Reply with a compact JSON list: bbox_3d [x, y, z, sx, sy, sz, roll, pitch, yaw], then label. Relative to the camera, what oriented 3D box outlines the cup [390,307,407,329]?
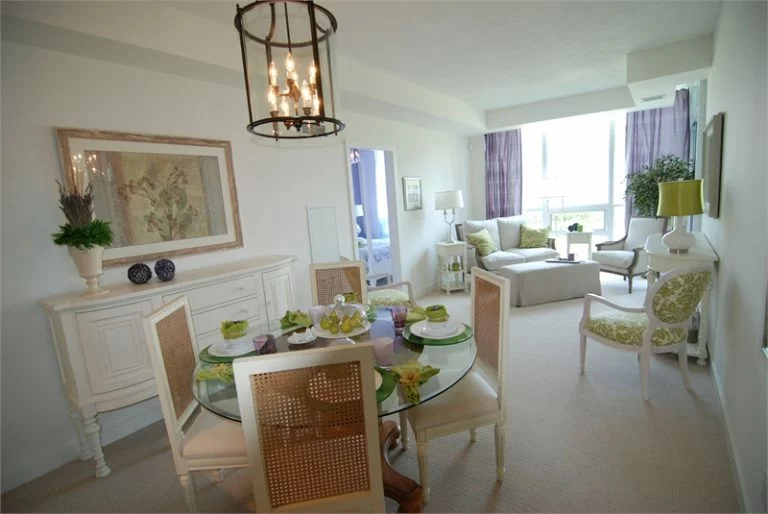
[{"bbox_3d":[0.115,0.452,3.857,0.148,0.163,0.143,-1,7,0],"label":"cup"}]

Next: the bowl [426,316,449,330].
[{"bbox_3d":[0.404,0.482,3.724,0.097,0.053,0.098,-4,0,0],"label":"bowl"}]

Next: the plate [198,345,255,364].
[{"bbox_3d":[-1.142,0.693,3.615,0.482,0.081,0.182,-3,7,18],"label":"plate"}]

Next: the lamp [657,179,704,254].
[{"bbox_3d":[2.820,-0.385,4.796,0.404,0.670,0.318,-3,8,17],"label":"lamp"}]

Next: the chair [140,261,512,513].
[{"bbox_3d":[-0.288,0.864,3.882,2.292,1.466,1.768,-3,9,-15],"label":"chair"}]

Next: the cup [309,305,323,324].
[{"bbox_3d":[-0.508,0.439,3.871,0.123,0.131,0.118,1,1,0],"label":"cup"}]

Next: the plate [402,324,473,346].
[{"bbox_3d":[0.395,0.568,3.708,0.505,0.102,0.221,-5,7,3],"label":"plate"}]

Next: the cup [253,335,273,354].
[{"bbox_3d":[-0.838,0.602,3.546,0.139,0.134,0.152,-5,7,1],"label":"cup"}]

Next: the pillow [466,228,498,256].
[{"bbox_3d":[1.472,-0.218,7.474,0.365,0.358,0.455,2,10,45],"label":"pillow"}]

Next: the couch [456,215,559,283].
[{"bbox_3d":[1.898,-0.168,7.676,1.355,0.796,0.929,-6,14,-16],"label":"couch"}]

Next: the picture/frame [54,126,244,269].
[{"bbox_3d":[-2.097,-0.522,4.379,1.320,1.075,0.092,-6,5,-39],"label":"picture/frame"}]

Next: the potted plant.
[{"bbox_3d":[-2.398,-0.126,4.030,0.408,0.808,0.424,-5,7,17],"label":"potted plant"}]

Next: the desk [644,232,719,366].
[{"bbox_3d":[2.668,0.411,4.504,0.432,0.821,1.124,3,13,25],"label":"desk"}]

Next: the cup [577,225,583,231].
[{"bbox_3d":[2.909,-0.435,7.514,0.074,0.107,0.155,-2,8,21],"label":"cup"}]

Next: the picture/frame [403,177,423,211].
[{"bbox_3d":[0.420,-0.903,7.239,0.029,0.477,0.574,3,10,32],"label":"picture/frame"}]

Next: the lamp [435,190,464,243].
[{"bbox_3d":[0.965,-0.575,7.450,0.432,0.696,0.432,-10,-15,34],"label":"lamp"}]

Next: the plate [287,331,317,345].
[{"bbox_3d":[-0.596,0.577,3.672,0.207,0.078,0.140,-4,7,6],"label":"plate"}]

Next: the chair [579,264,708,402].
[{"bbox_3d":[2.328,0.585,4.601,0.879,1.148,0.947,-2,10,-7],"label":"chair"}]

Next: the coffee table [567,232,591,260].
[{"bbox_3d":[3.014,-0.177,7.795,0.438,0.560,0.485,0,4,17],"label":"coffee table"}]

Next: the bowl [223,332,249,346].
[{"bbox_3d":[-1.082,0.589,3.687,0.169,0.081,0.158,-5,7,1],"label":"bowl"}]

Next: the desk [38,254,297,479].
[{"bbox_3d":[-1.616,0.872,4.694,2.248,1.408,0.733,-14,10,-41],"label":"desk"}]

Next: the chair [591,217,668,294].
[{"bbox_3d":[3.449,-0.070,7.054,0.814,0.974,0.741,-5,10,-14],"label":"chair"}]

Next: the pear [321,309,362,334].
[{"bbox_3d":[-0.305,0.468,3.694,0.212,0.100,0.210,0,-1,7],"label":"pear"}]
